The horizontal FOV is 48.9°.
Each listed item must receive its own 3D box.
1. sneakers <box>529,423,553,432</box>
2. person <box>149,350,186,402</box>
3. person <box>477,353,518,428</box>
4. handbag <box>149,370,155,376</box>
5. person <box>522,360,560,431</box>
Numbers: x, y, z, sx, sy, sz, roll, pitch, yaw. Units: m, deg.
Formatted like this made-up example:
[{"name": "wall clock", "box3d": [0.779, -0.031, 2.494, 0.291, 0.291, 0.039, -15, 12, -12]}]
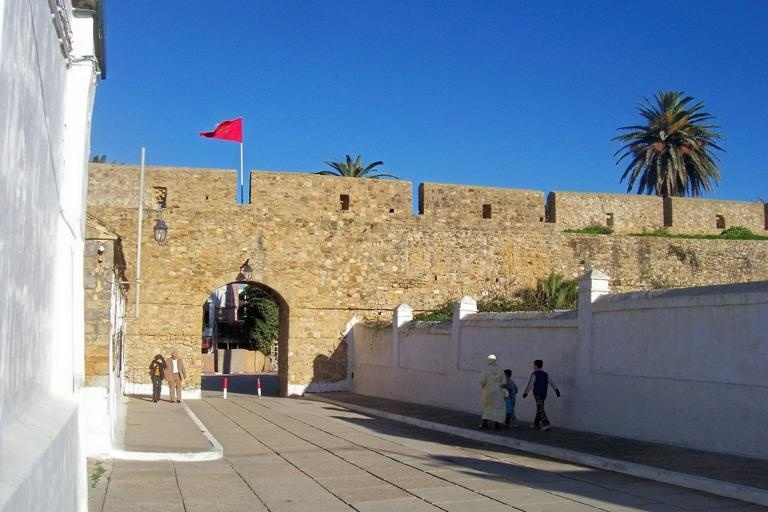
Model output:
[{"name": "sneakers", "box3d": [3.462, 3.805, 18.907, 0.512, 0.222, 0.172, -2, -3, 36]}, {"name": "person", "box3d": [-6.645, 3.647, 25.811, 0.903, 1.489, 1.150, 0, -3, -6]}, {"name": "person", "box3d": [2.559, 3.110, 19.494, 0.659, 1.607, 0.904, -2, -3, 18]}, {"name": "handbag", "box3d": [-6.971, 3.488, 25.376, 0.192, 0.186, 0.102, 3, -7, -42]}, {"name": "person", "box3d": [3.549, 3.094, 19.226, 0.775, 1.521, 1.366, -1, -3, 10]}]
